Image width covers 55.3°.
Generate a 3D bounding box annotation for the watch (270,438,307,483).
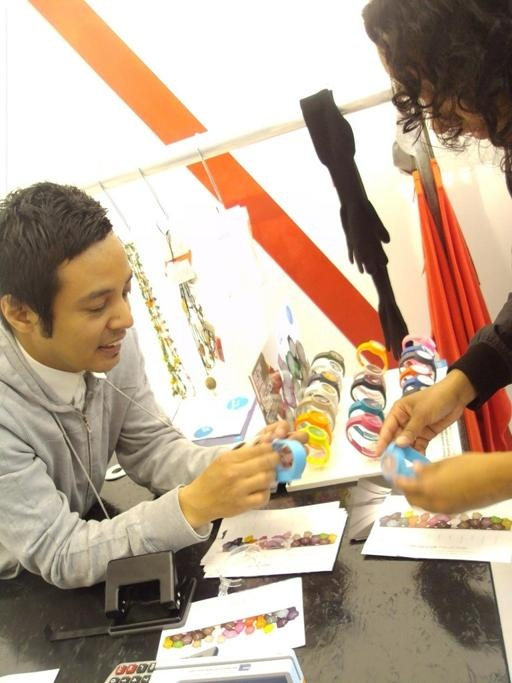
[{"bbox_3d":[0.067,0.237,0.978,0.062,0.084,0.028,7,-3,29],"label":"watch"}]
